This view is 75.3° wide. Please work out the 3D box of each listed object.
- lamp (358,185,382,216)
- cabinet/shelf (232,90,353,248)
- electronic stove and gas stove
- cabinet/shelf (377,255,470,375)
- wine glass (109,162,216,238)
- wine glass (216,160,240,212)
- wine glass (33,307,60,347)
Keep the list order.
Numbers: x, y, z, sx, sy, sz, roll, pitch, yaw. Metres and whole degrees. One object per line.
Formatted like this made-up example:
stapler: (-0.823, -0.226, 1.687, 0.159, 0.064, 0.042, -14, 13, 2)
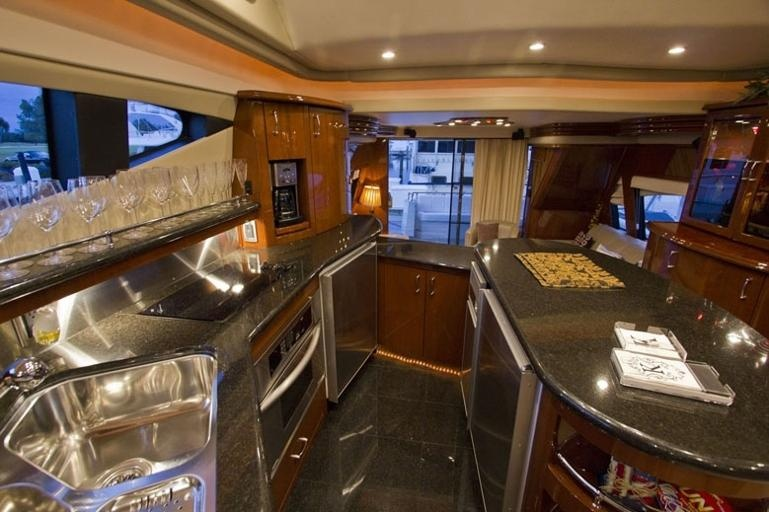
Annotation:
lamp: (-0.216, -0.906, 8.143, 0.364, 0.504, 0.365, 2, 19, -1)
cabinet/shelf: (-0.669, -0.595, 3.507, 0.410, 0.957, 1.041, 7, 18, 18)
electronic stove and gas stove: (-0.965, 0.192, 2.928, 0.494, 0.119, 0.733, 9, 19, 20)
cabinet/shelf: (0.329, 0.430, 3.884, 0.840, 0.835, 0.329, 5, 15, 20)
wine glass: (-1.226, -0.296, 2.765, 0.344, 0.540, 0.349, -1, 12, -2)
wine glass: (-0.997, -0.468, 3.184, 0.133, 0.258, 0.257, -3, 19, -16)
wine glass: (-1.623, 0.338, 2.414, 0.060, 0.184, 0.128, 8, 20, 18)
